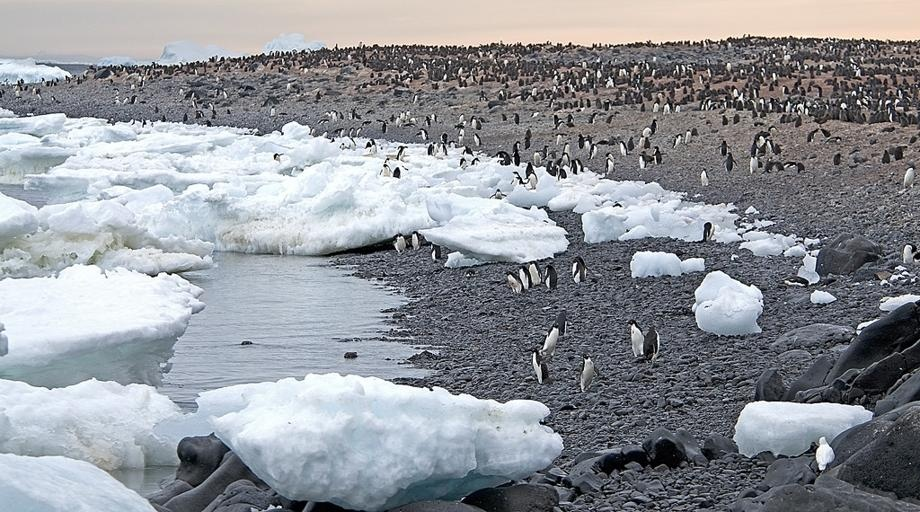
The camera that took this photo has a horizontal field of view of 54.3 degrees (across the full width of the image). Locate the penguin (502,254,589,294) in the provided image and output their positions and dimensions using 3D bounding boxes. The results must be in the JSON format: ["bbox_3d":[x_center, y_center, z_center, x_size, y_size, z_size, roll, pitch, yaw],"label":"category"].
[{"bbox_3d":[1.869,0.399,20.213,2.303,0.686,0.706,-3,17,0],"label":"penguin"}]

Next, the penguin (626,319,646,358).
[{"bbox_3d":[3.237,1.498,16.380,0.229,0.626,0.505,-1,17,10],"label":"penguin"}]

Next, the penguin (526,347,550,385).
[{"bbox_3d":[1.453,1.940,16.139,0.303,0.602,0.524,-2,16,5],"label":"penguin"}]

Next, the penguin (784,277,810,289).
[{"bbox_3d":[6.812,0.510,18.217,0.375,0.113,0.486,-12,16,-35],"label":"penguin"}]

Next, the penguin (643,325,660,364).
[{"bbox_3d":[3.433,1.593,16.124,0.266,0.519,0.523,0,16,13],"label":"penguin"}]

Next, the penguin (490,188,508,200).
[{"bbox_3d":[1.118,-1.768,25.897,0.594,0.383,0.634,-2,-16,2],"label":"penguin"}]

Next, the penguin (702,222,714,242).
[{"bbox_3d":[6.022,-0.614,21.851,0.253,0.411,0.407,1,16,14],"label":"penguin"}]

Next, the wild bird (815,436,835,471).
[{"bbox_3d":[5.052,2.750,12.439,0.238,0.424,0.411,2,48,34],"label":"wild bird"}]
